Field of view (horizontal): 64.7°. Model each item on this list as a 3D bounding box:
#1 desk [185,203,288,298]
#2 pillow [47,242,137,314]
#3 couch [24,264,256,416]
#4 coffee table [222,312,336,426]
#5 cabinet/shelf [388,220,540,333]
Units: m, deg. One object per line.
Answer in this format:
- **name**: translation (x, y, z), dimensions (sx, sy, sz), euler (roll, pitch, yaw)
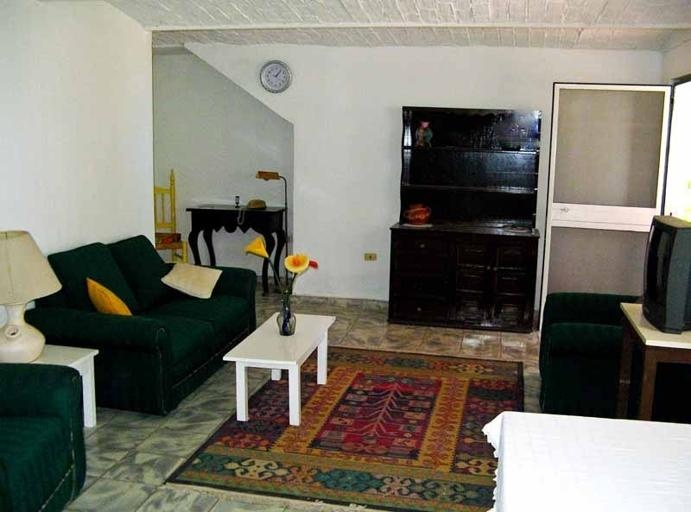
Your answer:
- **desk**: translation (-1.479, -0.149, 7.250), dimensions (1.210, 1.092, 0.764), euler (-2, 9, -16)
- **pillow**: translation (-1.985, 0.123, 4.264), dimensions (0.139, 0.520, 0.536), euler (-30, -3, 18)
- **couch**: translation (-1.552, 0.488, 4.609), dimensions (1.013, 0.852, 1.807), euler (5, 11, 12)
- **coffee table**: translation (-0.475, 0.857, 4.127), dimensions (0.567, 0.481, 1.001), euler (0, 7, 7)
- **cabinet/shelf**: translation (1.289, 0.210, 5.952), dimensions (1.521, 1.042, 0.558), euler (4, 11, 22)
